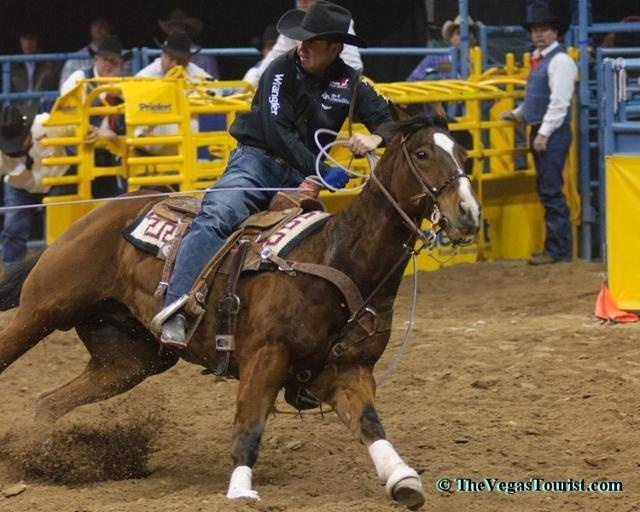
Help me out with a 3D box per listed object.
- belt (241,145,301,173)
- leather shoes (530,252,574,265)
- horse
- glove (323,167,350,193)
[{"bbox_3d":[-0.364,-0.697,8.108,0.271,0.064,0.188,24,-5,2],"label":"belt"},{"bbox_3d":[2.633,0.037,13.082,0.534,0.173,0.153,-6,4,1],"label":"leather shoes"},{"bbox_3d":[-0.449,0.296,7.715,3.030,2.471,0.890,5,6,27],"label":"horse"},{"bbox_3d":[0.113,-0.520,7.892,0.213,0.163,0.075,15,-5,-8],"label":"glove"}]
